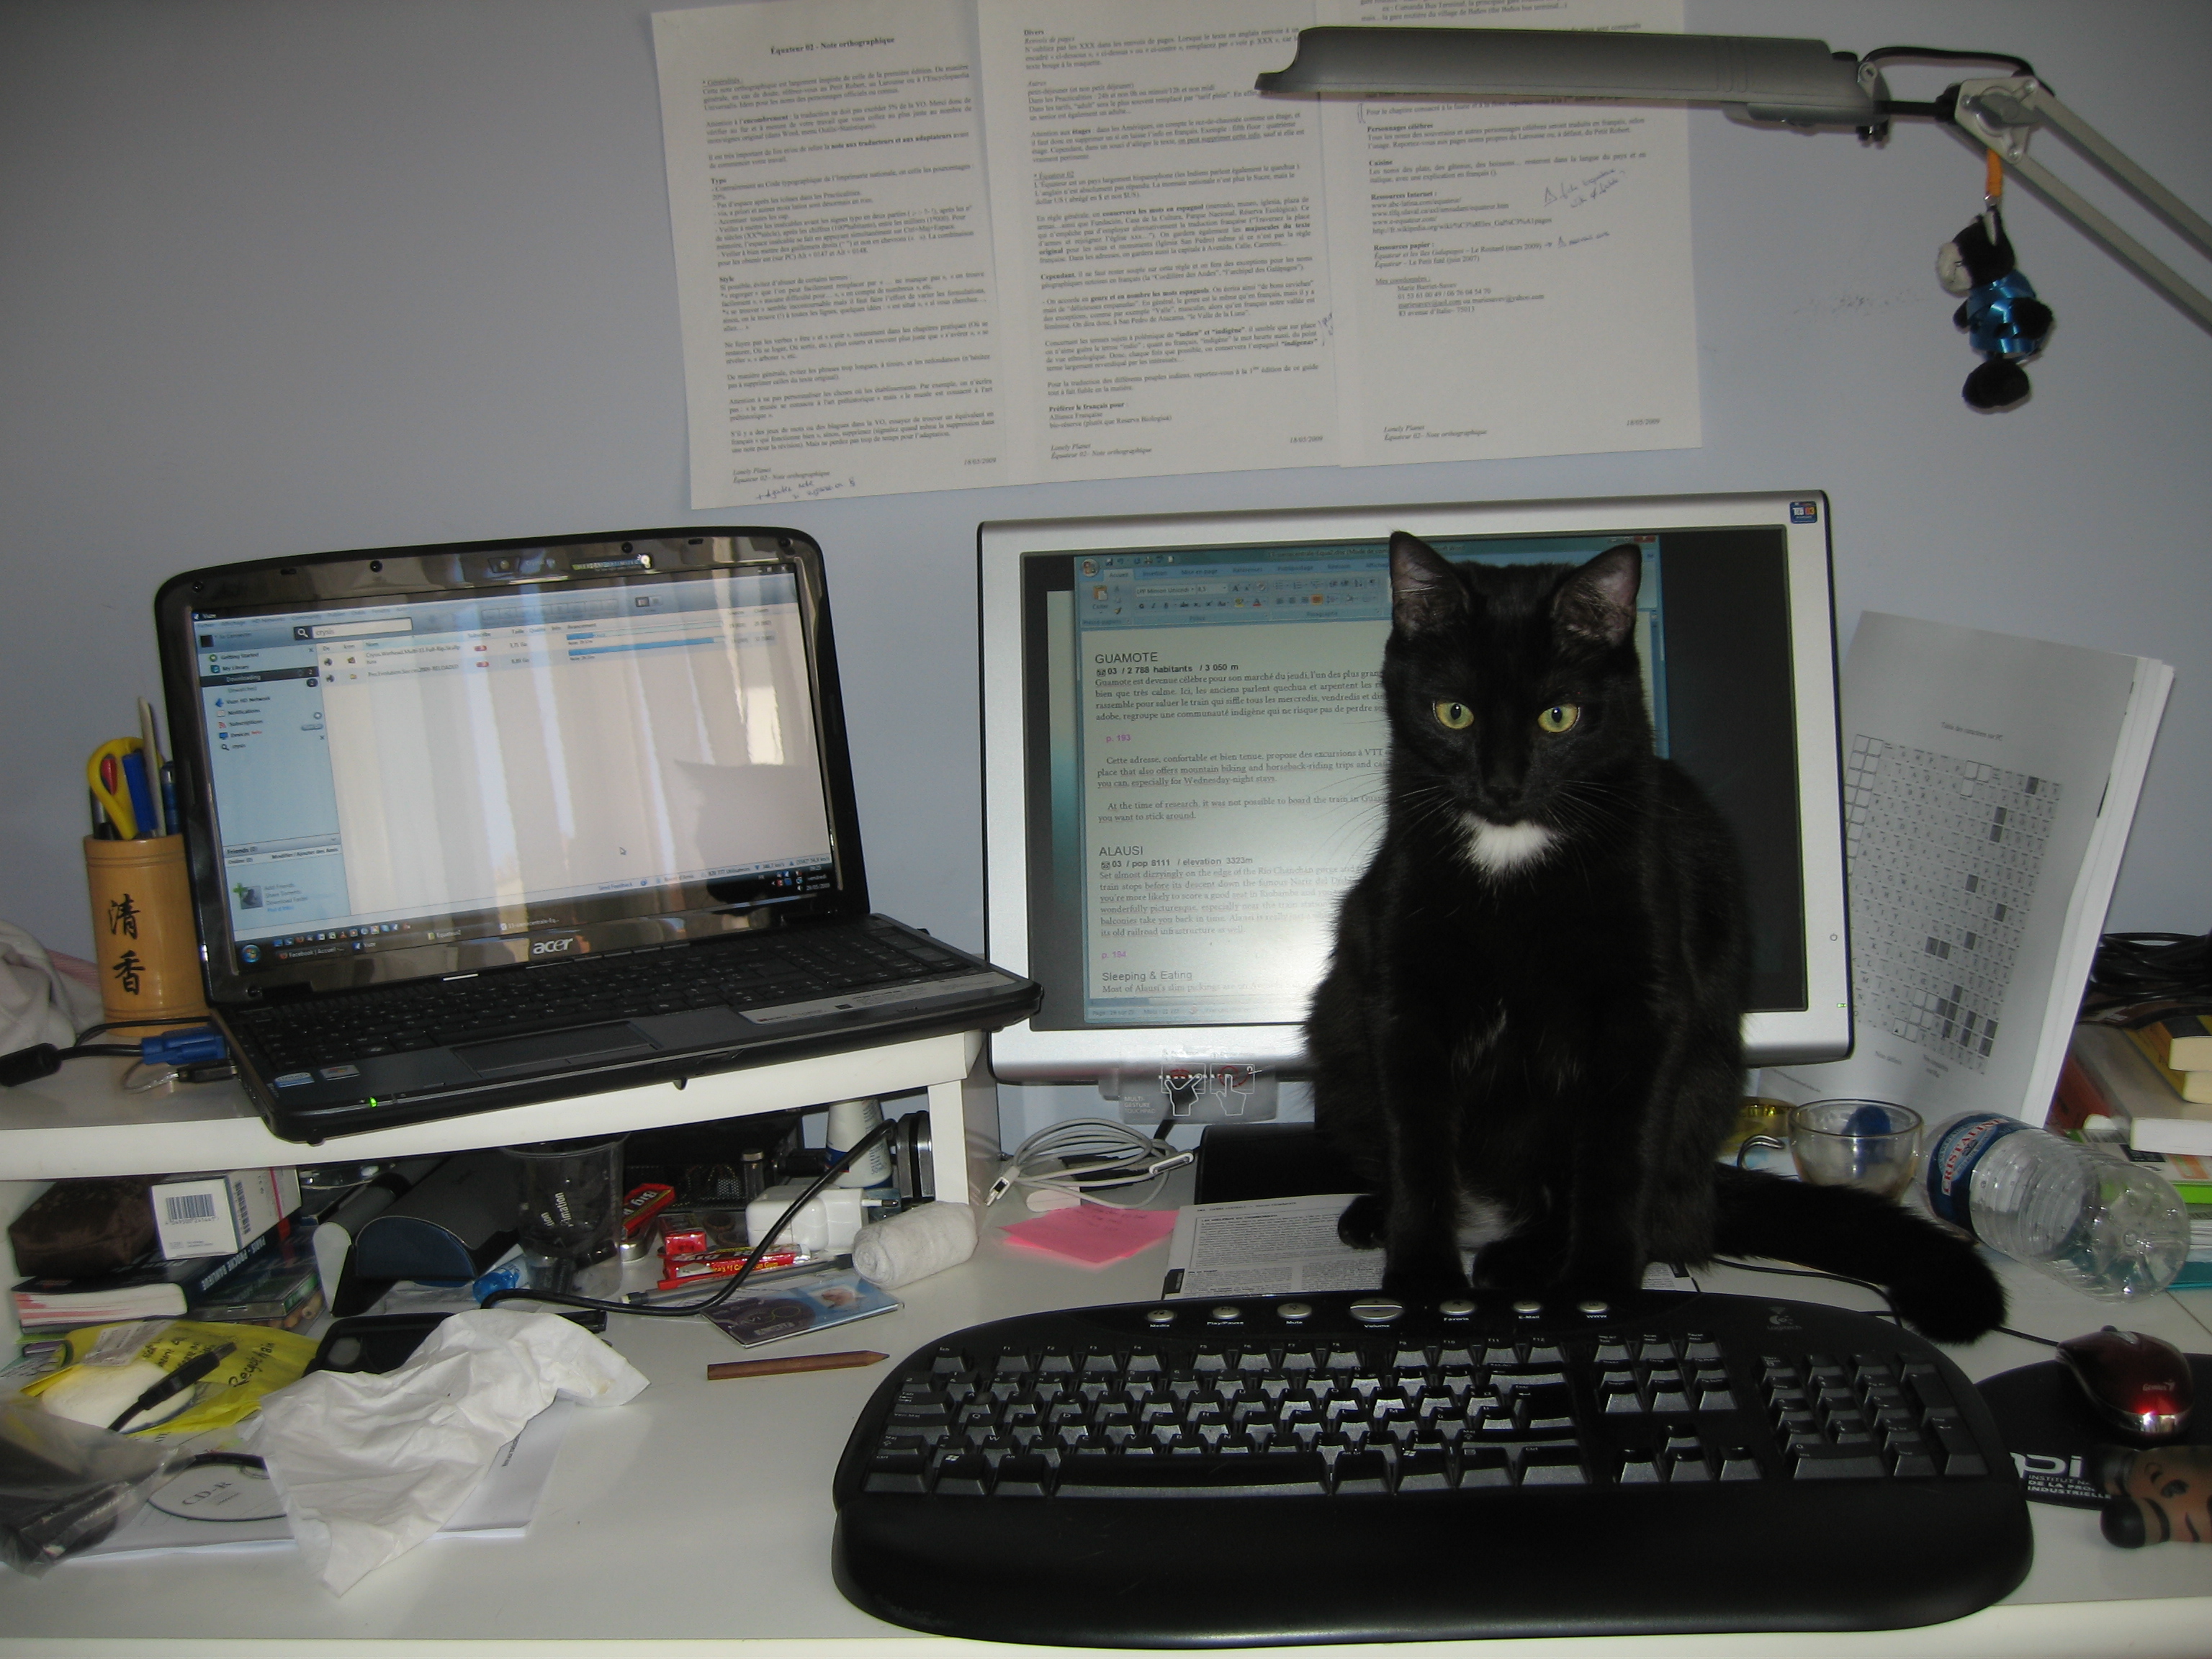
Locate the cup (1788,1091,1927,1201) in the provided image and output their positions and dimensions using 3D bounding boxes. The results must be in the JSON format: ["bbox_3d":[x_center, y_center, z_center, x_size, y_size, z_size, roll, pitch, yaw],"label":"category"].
[{"bbox_3d":[0.546,0.231,1.314,0.079,0.054,0.072,3,6,25],"label":"cup"}]

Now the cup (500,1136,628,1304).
[{"bbox_3d":[-0.387,0.276,1.321,0.102,0.115,0.094,-2,2,0],"label":"cup"}]

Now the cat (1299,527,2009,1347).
[{"bbox_3d":[0.325,0.096,1.449,0.617,0.643,0.477,-1,-4,30],"label":"cat"}]

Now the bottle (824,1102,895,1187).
[{"bbox_3d":[-0.187,0.239,1.386,0.064,0.081,0.055,1,-4,-7],"label":"bottle"}]

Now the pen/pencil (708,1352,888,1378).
[{"bbox_3d":[-0.196,0.351,1.186,0.087,0.011,0.011,-2,-9,-5],"label":"pen/pencil"}]

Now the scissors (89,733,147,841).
[{"bbox_3d":[-0.773,-0.029,1.440,0.056,0.076,0.021,-2,0,11],"label":"scissors"}]
